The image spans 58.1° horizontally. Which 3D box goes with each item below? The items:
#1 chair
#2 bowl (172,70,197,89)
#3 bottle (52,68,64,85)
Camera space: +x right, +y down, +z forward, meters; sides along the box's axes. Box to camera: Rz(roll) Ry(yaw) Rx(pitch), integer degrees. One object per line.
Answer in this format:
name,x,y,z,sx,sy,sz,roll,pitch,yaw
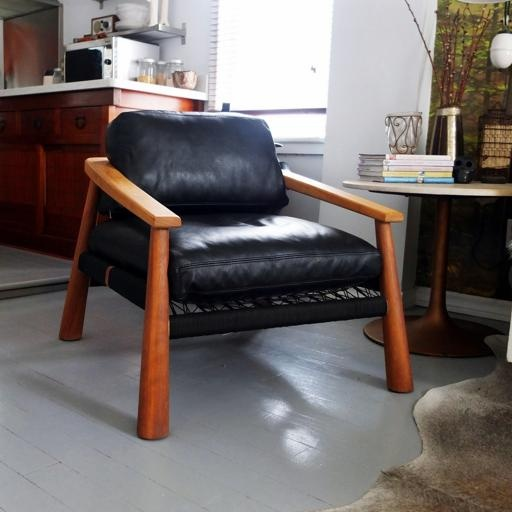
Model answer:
chair,-0.111,-0.058,1.428,0.794,0.680,0.847,-4,16,-27
bowl,-0.459,-1.125,2.992,0.135,0.088,0.134,0,4,0
bottle,-1.345,-1.217,3.113,0.050,0.115,0.229,-3,8,-31
